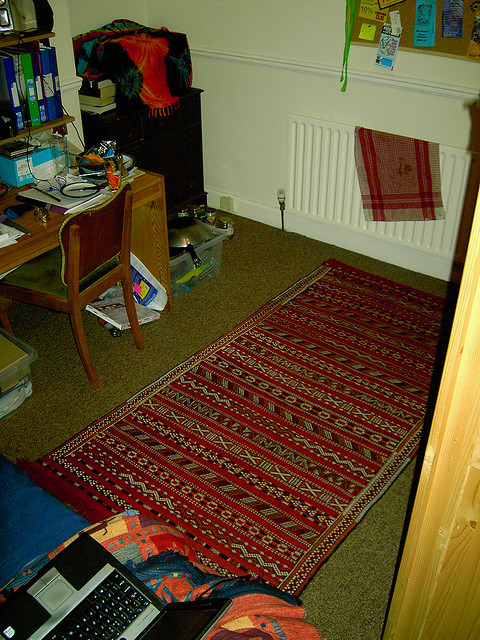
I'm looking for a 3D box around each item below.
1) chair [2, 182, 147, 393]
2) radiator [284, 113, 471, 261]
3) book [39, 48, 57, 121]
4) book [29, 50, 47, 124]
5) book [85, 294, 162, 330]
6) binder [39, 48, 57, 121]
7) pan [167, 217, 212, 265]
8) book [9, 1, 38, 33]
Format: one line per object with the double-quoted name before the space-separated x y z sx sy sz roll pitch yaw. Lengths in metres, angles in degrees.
"chair" -0.785 -0.162 2.307 0.521 0.823 0.486 30 49 5
"radiator" 0.805 -0.862 3.075 1.212 0.766 0.074 20 35 33
"book" -0.973 -1.201 2.452 0.049 0.318 0.248 -9 42 -17
"book" -1.009 -1.158 2.433 0.050 0.208 0.210 -14 19 -28
"book" -0.649 -0.030 2.642 0.252 0.035 0.253 28 39 32
"binder" -0.973 -1.200 2.452 0.047 0.318 0.247 -8 38 -15
"pan" -0.302 -0.491 3.005 0.267 0.223 0.248 -3 29 -2
"book" -1.018 -1.427 2.292 0.107 0.125 0.058 -13 30 -19
